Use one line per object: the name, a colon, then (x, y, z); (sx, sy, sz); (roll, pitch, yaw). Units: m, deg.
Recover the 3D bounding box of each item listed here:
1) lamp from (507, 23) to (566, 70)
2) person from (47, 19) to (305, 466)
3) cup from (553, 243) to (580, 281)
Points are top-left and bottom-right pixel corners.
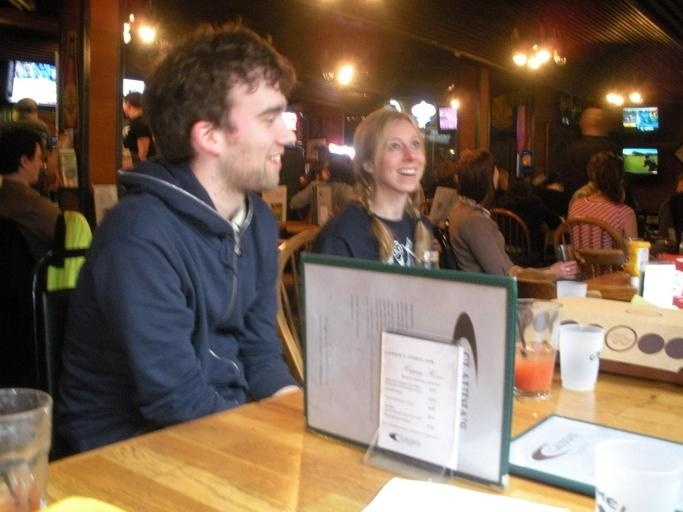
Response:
lamp: (3.323, -3.403, 8.710); (0.935, 0.637, 1.314); (-1, 26, 3)
person: (-0.706, -0.145, 2.304); (1.129, 1.810, 1.007); (1, 4, 6)
cup: (1.112, 0.035, 2.683); (0.056, 0.167, 0.119); (-9, -13, 6)
